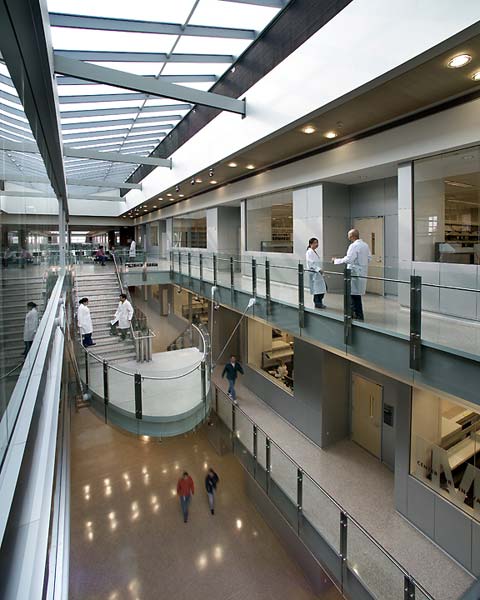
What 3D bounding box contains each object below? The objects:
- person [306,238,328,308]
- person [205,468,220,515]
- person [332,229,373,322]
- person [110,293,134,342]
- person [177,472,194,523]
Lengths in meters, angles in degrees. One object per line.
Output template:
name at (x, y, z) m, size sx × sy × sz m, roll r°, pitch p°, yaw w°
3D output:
person at (1.246, -0.431, 6.501) m, size 0.260 × 1.104 × 0.784 m, roll 3°, pitch 10°, yaw 2°
person at (-0.679, 4.381, 9.409) m, size 0.260 × 0.917 × 0.967 m, roll 2°, pitch 10°, yaw -1°
person at (1.656, -0.409, 5.866) m, size 0.475 × 1.229 × 1.131 m, roll 6°, pitch 10°, yaw 19°
person at (-3.472, 0.513, 11.756) m, size 0.581 × 1.460 × 1.050 m, roll -3°, pitch 11°, yaw -30°
person at (-1.238, 4.295, 8.968) m, size 0.354 × 1.267 × 0.697 m, roll 1°, pitch 9°, yaw -9°
